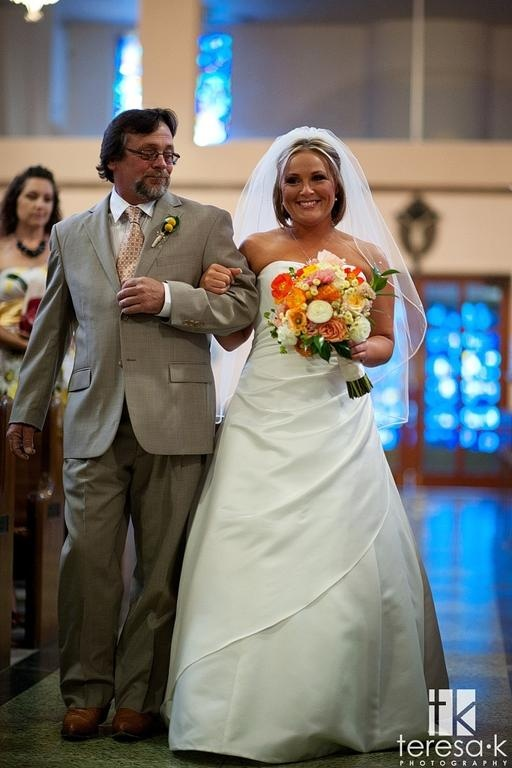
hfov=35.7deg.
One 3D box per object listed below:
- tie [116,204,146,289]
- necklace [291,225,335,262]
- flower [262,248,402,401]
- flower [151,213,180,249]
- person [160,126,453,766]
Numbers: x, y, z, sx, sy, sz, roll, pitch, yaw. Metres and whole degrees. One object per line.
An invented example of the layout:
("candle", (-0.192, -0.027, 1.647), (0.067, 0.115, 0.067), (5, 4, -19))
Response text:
("tie", (-0.381, -0.421, 2.440), (0.060, 0.283, 0.033), (10, -32, 5))
("necklace", (0.179, -0.456, 2.596), (0.121, 0.151, 0.058), (3, -14, 3))
("flower", (0.213, -0.138, 2.403), (0.376, 0.389, 0.369), (6, 24, 42))
("flower", (-0.280, -0.471, 2.433), (0.052, 0.118, 0.041), (35, 2, 24))
("person", (0.183, 0.051, 2.407), (0.796, 1.888, 0.942), (1, -2, 12))
